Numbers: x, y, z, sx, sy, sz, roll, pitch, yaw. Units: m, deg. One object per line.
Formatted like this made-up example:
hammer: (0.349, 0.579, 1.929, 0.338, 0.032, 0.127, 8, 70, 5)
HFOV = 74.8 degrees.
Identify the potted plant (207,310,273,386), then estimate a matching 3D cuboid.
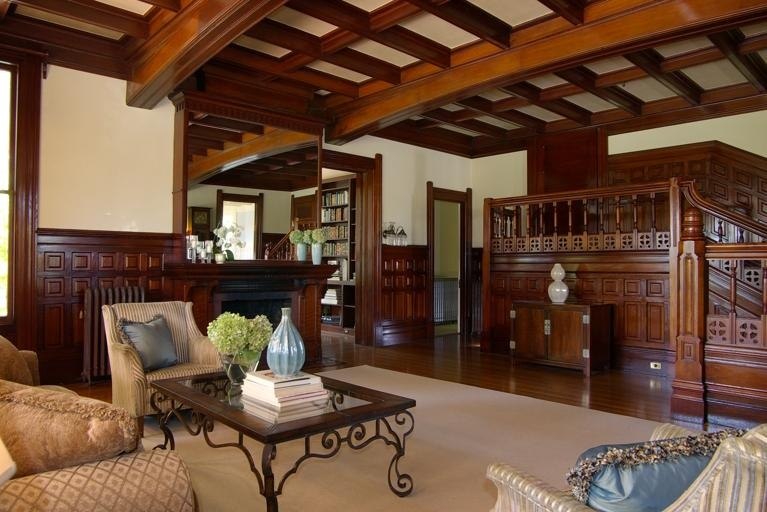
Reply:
potted plant: (-1.087, 0.626, 3.942, 0.494, 0.597, 0.603, -1, 1, -13)

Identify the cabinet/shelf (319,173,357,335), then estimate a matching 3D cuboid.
cabinet/shelf: (-0.828, -0.034, 8.946, 1.128, 2.814, 0.322, 0, -3, 35)

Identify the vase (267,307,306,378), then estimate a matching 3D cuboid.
vase: (-0.694, 0.605, 3.548, 0.241, 0.309, 0.238, -1, -1, -14)

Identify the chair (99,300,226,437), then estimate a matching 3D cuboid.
chair: (-2.054, 0.954, 4.684, 0.993, 1.009, 0.923, -3, -2, 31)

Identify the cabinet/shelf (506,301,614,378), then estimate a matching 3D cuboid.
cabinet/shelf: (2.368, 0.798, 6.816, 0.859, 1.052, 1.472, 4, -4, -44)

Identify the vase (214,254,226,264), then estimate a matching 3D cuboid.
vase: (-2.071, 0.029, 6.400, 0.114, 0.084, 0.113, -1, 0, -4)

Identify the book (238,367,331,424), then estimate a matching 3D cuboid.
book: (-0.671, 0.957, 3.426, 0.387, 0.187, 0.295, 3, -3, -41)

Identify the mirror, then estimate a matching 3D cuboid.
mirror: (-1.796, -0.924, 6.645, 2.209, 1.877, 0.329, 1, -4, -43)

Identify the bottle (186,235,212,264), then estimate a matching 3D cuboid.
bottle: (-2.296, -0.089, 6.308, 0.317, 0.449, 0.323, 1, -2, 0)

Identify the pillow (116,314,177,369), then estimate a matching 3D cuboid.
pillow: (-2.133, 0.775, 4.503, 0.166, 0.438, 0.445, -31, -16, 21)

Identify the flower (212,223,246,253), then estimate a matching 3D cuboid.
flower: (-1.976, -0.236, 6.478, 0.354, 0.344, 0.175, 3, -12, -39)

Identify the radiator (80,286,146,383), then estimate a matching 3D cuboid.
radiator: (-3.208, 0.843, 5.777, 0.929, 1.075, 0.290, 0, -5, -33)

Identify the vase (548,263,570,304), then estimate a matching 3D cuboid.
vase: (2.353, 0.358, 6.854, 0.226, 0.509, 0.637, -1, -1, 19)

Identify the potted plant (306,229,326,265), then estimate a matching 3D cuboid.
potted plant: (-0.919, -0.127, 7.235, 0.286, 0.532, 0.322, 13, -19, -36)

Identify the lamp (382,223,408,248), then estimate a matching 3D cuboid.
lamp: (0.135, -0.354, 8.606, 0.466, 0.435, 0.292, 8, -11, -39)
